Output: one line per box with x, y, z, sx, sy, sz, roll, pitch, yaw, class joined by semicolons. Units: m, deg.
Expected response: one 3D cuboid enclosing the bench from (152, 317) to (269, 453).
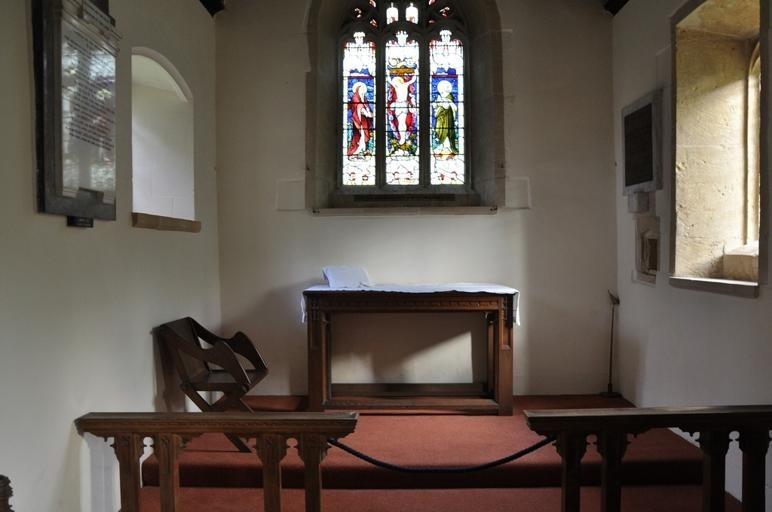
-1.699;1.287;6.942;0.900;1.218;0.885;0;2;-5;bench
